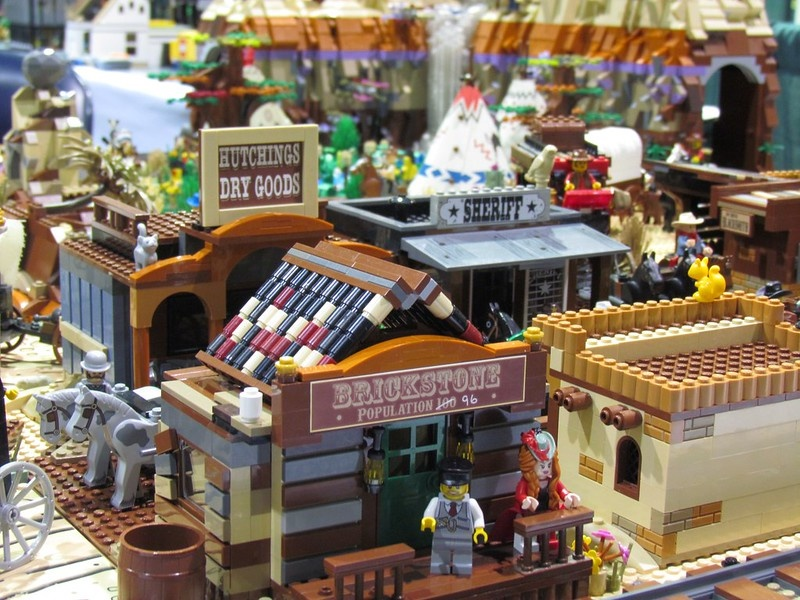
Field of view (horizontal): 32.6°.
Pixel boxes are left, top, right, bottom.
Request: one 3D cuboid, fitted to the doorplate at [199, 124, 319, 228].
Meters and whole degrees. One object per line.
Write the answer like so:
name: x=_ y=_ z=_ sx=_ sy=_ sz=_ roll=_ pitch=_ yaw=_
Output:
doorplate: x=-1.690 y=-1.478 z=16.193 sx=1.116 sy=0.881 sz=0.146 roll=-6 pitch=15 yaw=-24
